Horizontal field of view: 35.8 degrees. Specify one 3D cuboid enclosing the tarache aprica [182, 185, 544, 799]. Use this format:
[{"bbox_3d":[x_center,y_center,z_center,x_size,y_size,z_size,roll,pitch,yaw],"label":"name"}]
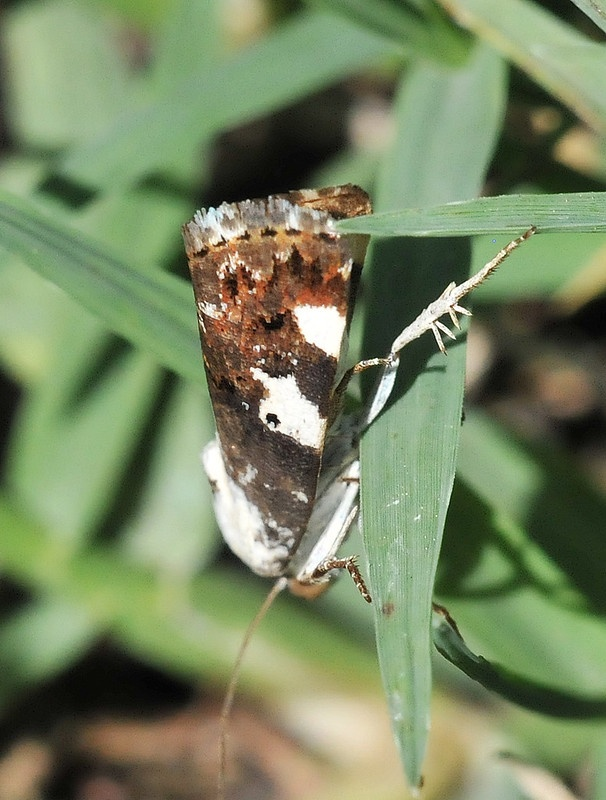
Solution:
[{"bbox_3d":[-0.021,0.008,0.833,0.145,0.366,0.434,-9,13,-32],"label":"tarache aprica"}]
